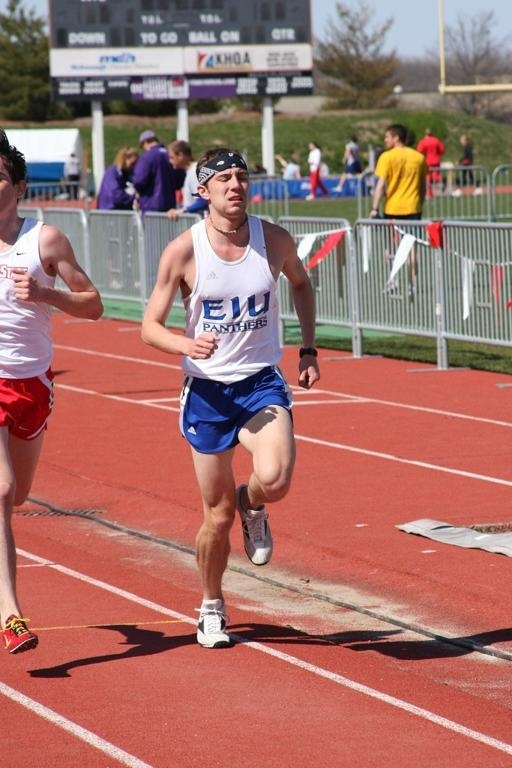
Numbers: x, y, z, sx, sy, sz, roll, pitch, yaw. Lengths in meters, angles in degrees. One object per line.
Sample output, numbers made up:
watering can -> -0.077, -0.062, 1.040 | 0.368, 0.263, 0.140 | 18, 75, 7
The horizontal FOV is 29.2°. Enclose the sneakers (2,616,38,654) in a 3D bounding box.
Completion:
sneakers -> -0.729, 0.770, 3.010 | 0.067, 0.081, 0.169 | -37, 4, -21

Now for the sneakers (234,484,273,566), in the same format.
sneakers -> -0.005, 0.517, 3.514 | 0.109, 0.311, 0.128 | -12, 8, -7

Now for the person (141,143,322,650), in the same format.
person -> -0.025, 0.065, 3.328 | 0.656, 1.766, 0.570 | -1, 5, -21

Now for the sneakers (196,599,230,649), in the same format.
sneakers -> -0.150, 0.854, 3.471 | 0.078, 0.092, 0.206 | -1, -1, -9

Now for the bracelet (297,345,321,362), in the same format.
bracelet -> 0.198, -0.119, 3.700 | 0.069, 0.040, 0.068 | 0, -11, 24

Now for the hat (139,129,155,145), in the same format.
hat -> -1.523, -3.466, 13.761 | 0.201, 0.152, 0.283 | -36, 22, -23
